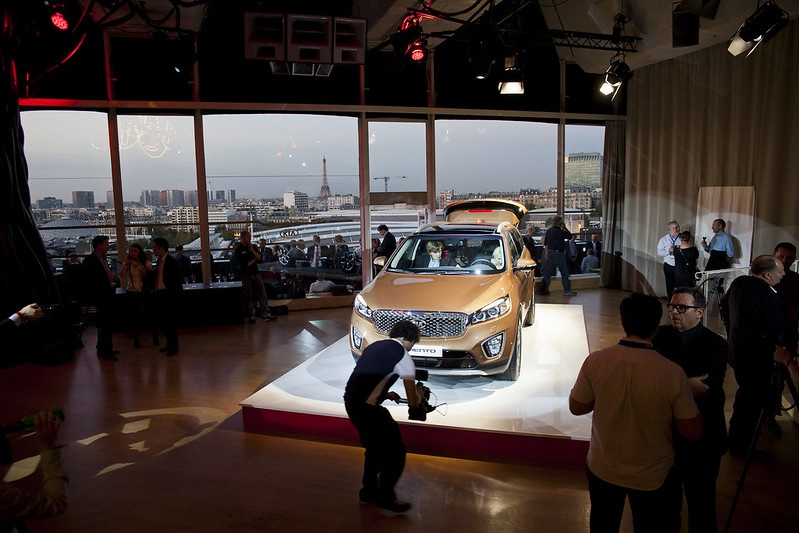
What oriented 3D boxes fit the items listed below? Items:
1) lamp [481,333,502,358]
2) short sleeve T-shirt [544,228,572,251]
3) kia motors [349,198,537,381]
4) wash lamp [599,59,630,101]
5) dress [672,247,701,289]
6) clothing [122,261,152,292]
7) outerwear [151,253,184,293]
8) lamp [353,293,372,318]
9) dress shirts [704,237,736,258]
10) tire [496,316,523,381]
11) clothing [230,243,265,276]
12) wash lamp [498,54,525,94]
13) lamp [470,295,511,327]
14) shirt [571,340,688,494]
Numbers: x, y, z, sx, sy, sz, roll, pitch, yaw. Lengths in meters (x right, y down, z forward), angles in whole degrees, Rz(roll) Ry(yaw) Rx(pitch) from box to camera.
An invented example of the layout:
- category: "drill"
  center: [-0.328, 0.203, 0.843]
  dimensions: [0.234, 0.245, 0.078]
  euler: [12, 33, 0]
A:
- category: "lamp"
  center: [1.026, 0.872, 5.693]
  dimensions: [0.196, 0.269, 0.071]
  euler: [-4, 12, -22]
- category: "short sleeve T-shirt"
  center: [3.417, -0.596, 11.312]
  dimensions: [0.479, 0.426, 0.282]
  euler: [-3, 11, 38]
- category: "kia motors"
  center: [0.846, 0.177, 6.975]
  dimensions: [1.516, 1.423, 2.981]
  euler: [-1, 6, 17]
- category: "wash lamp"
  center: [4.009, -3.535, 9.619]
  dimensions: [0.416, 0.579, 0.499]
  euler: [-3, 15, -7]
- category: "dress"
  center: [4.865, 0.024, 8.890]
  dimensions: [0.365, 0.716, 0.588]
  euler: [6, 17, 27]
- category: "clothing"
  center: [-4.086, 0.147, 8.122]
  dimensions: [0.521, 0.615, 0.355]
  euler: [1, -1, -3]
- category: "outerwear"
  center: [-3.611, 0.113, 8.087]
  dimensions: [0.625, 0.625, 0.350]
  euler: [2, -10, 6]
- category: "lamp"
  center: [-0.423, 0.463, 6.055]
  dimensions: [0.189, 0.266, 0.097]
  euler: [1, -31, 26]
- category: "dress shirts"
  center: [5.744, -0.342, 9.291]
  dimensions: [0.171, 0.281, 0.324]
  euler: [22, 3, -28]
- category: "tire"
  center: [1.224, 0.924, 5.858]
  dimensions: [0.266, 0.798, 0.810]
  euler: [0, 1, 16]
- category: "clothing"
  center: [-2.892, -0.128, 9.783]
  dimensions: [0.549, 0.671, 0.399]
  euler: [7, 17, 44]
- category: "wash lamp"
  center: [1.898, -3.295, 8.844]
  dimensions: [0.385, 0.603, 0.190]
  euler: [2, 15, 13]
- category: "lamp"
  center: [1.025, 0.485, 5.785]
  dimensions: [0.384, 0.135, 0.269]
  euler: [-27, 7, -8]
- category: "shirt"
  center: [1.530, 0.984, 3.466]
  dimensions: [0.758, 0.950, 0.338]
  euler: [7, 17, 30]
